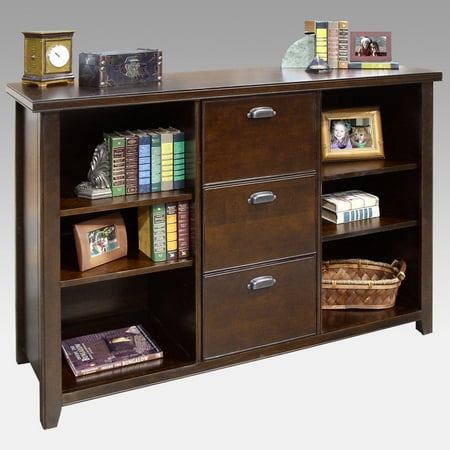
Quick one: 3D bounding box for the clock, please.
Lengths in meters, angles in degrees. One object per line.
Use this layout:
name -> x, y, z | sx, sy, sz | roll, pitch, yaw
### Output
clock -> -0.686, -0.644, 1.965 | 0.175, 0.211, 0.147 | -17, 20, -42

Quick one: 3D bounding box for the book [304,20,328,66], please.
book -> 0.462, -0.911, 2.499 | 0.135, 0.192, 0.056 | -11, 18, -28

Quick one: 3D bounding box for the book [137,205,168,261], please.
book -> -0.285, 0.033, 1.997 | 0.083, 0.184, 0.215 | -8, 14, -24

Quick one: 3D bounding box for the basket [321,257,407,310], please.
basket -> 0.702, 0.312, 2.593 | 0.454, 0.137, 0.249 | 0, 7, -2

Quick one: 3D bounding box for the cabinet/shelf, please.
cabinet/shelf -> -0.084, -0.040, 2.092 | 1.745, 0.941, 0.548 | -8, 15, -30

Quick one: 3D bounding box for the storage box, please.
storage box -> -0.403, -0.615, 1.967 | 0.341, 0.154, 0.205 | -6, 15, -13

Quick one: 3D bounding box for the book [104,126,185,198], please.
book -> -0.293, -0.232, 1.913 | 0.298, 0.227, 0.109 | -4, 16, -6
